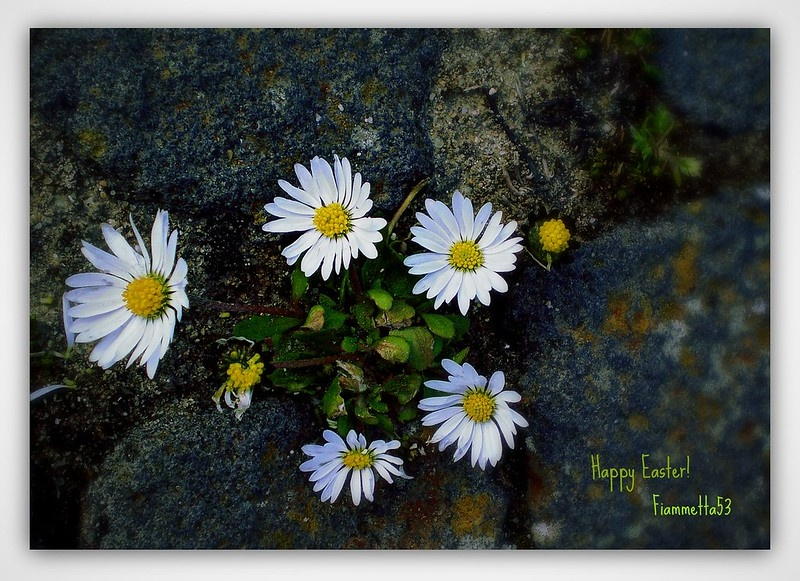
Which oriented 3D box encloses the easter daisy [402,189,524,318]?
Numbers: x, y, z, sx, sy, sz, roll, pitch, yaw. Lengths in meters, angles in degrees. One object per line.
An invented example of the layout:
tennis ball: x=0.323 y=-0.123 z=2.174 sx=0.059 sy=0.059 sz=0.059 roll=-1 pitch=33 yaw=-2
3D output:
easter daisy: x=0.210 y=-0.113 z=2.447 sx=0.373 sy=0.168 sz=0.370 roll=20 pitch=79 yaw=4

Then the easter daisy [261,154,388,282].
easter daisy: x=-0.261 y=-0.220 z=2.490 sx=0.377 sy=0.373 sz=0.400 roll=-29 pitch=79 yaw=-6

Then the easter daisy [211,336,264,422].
easter daisy: x=-0.599 y=0.313 z=2.617 sx=0.195 sy=0.106 sz=0.315 roll=-9 pitch=85 yaw=17

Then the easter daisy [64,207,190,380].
easter daisy: x=-0.853 y=-0.011 z=2.361 sx=0.519 sy=0.206 sz=0.533 roll=2 pitch=48 yaw=9
